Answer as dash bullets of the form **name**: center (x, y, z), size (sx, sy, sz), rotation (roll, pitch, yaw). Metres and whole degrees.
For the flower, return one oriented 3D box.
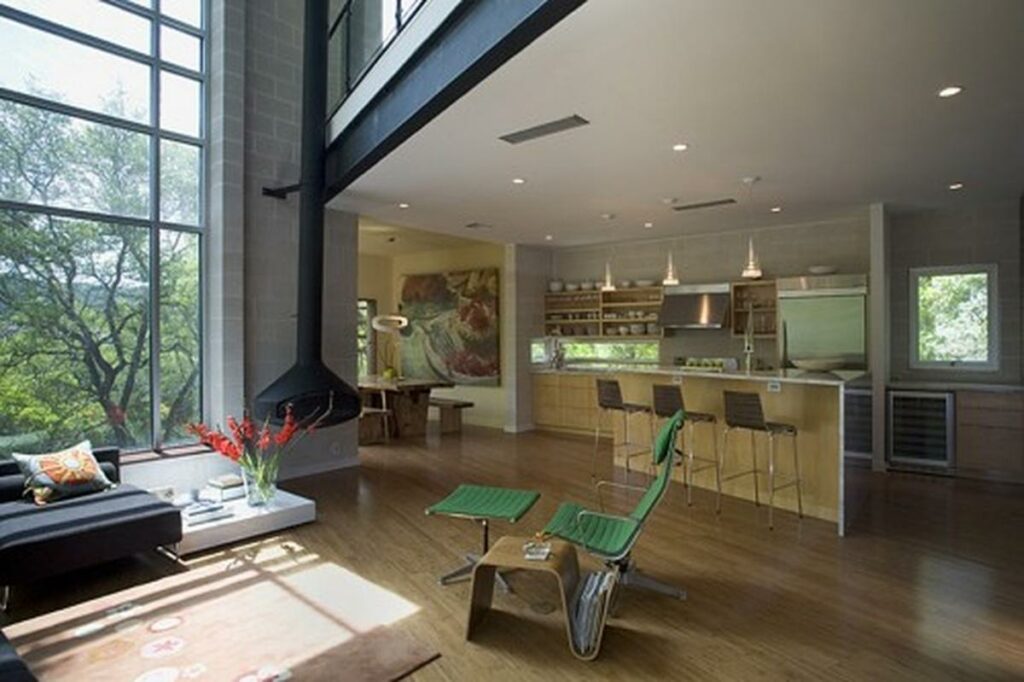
- **flower**: center (-2.769, 1.151, 7.068), size (1.305, 0.898, 1.234), rotation (-2, 2, -33)

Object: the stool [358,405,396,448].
- **stool**: center (-2.192, 1.378, 10.276), size (0.646, 0.614, 0.678), rotation (-1, -2, -7)

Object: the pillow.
- **pillow**: center (-4.149, 1.209, 6.146), size (0.604, 0.192, 0.603), rotation (27, 13, 15)

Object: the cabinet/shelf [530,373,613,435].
- **cabinet/shelf**: center (1.028, 1.060, 11.341), size (0.901, 1.347, 1.667), rotation (6, -6, -44)

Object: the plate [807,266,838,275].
- **plate**: center (4.314, -0.981, 9.019), size (0.344, 0.125, 0.341), rotation (8, 16, 31)

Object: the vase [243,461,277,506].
- **vase**: center (-2.593, 1.502, 6.754), size (0.394, 0.417, 0.396), rotation (3, -9, -33)

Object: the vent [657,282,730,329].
- **vent**: center (2.866, -0.521, 10.161), size (1.051, 0.617, 0.561), rotation (1, 8, 33)

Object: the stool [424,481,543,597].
- **stool**: center (-0.219, 1.729, 5.816), size (1.019, 0.815, 0.839), rotation (2, 4, 30)

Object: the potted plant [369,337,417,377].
- **potted plant**: center (-2.425, 0.314, 13.537), size (0.956, 0.812, 0.506), rotation (3, 15, 14)

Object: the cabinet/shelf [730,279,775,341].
- **cabinet/shelf**: center (3.558, -0.442, 9.501), size (0.900, 1.024, 0.308), rotation (-4, -7, 43)

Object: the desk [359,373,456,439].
- **desk**: center (-2.142, 0.955, 11.270), size (1.965, 0.920, 1.050), rotation (18, 5, 28)

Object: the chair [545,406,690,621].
- **chair**: center (0.951, 1.464, 5.955), size (1.532, 1.843, 1.723), rotation (1, -7, 8)

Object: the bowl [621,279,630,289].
- **bowl**: center (1.927, -0.949, 10.899), size (0.137, 0.094, 0.137), rotation (0, -7, 0)
